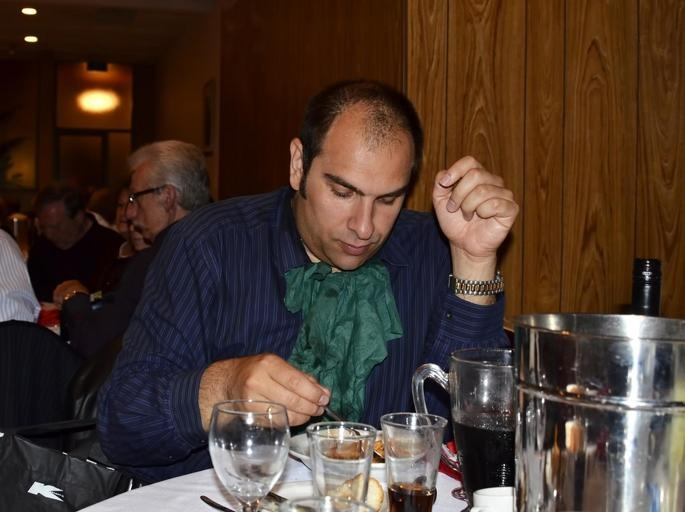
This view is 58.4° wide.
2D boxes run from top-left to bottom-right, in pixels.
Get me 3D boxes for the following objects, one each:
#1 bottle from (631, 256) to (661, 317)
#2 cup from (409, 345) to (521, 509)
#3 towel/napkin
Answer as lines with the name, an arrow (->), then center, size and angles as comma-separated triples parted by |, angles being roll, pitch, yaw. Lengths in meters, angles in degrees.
bottle -> 0.708, 0.070, 1.432 | 0.056, 0.134, 0.168 | 1, -2, 26
cup -> 0.236, 0.276, 1.048 | 0.244, 0.300, 0.168 | -5, -7, 24
towel/napkin -> 0.004, 0.174, 1.706 | 0.309, 0.484, 0.213 | -4, 35, -8
